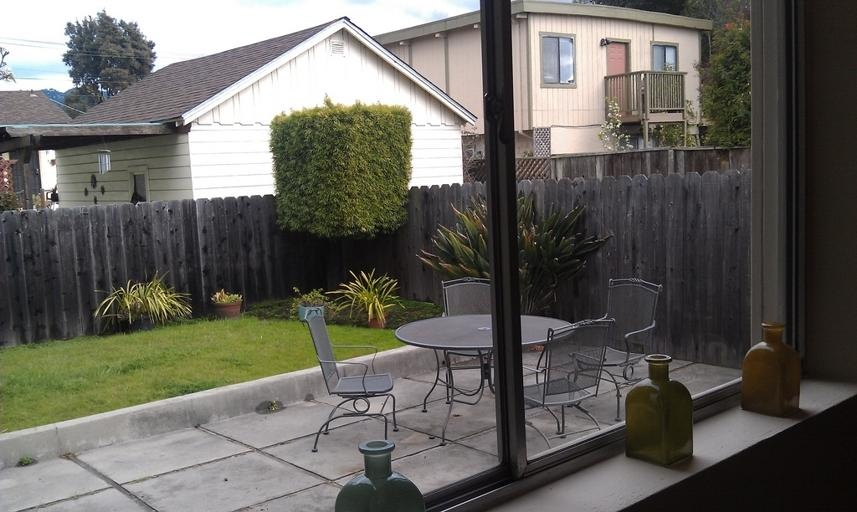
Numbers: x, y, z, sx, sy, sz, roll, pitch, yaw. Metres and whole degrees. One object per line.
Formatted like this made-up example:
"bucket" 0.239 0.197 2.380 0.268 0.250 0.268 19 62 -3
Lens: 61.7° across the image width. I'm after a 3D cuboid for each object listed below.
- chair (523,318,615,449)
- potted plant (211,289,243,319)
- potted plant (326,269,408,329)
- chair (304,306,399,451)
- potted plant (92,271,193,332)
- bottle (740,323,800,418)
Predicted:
"chair" 1.267 1.227 7.030 0.640 1.050 0.735 4 -9 -28
"potted plant" -2.948 0.717 10.568 0.365 0.377 0.399 -1 -4 4
"potted plant" -0.880 0.647 10.805 0.825 0.668 0.931 0 -2 9
"chair" -0.706 1.137 6.692 0.815 1.282 0.773 0 3 -1
"potted plant" -3.924 0.711 10.055 0.815 0.533 0.845 -3 -5 38
"bottle" 2.254 0.748 4.715 0.413 0.601 0.146 -5 4 -1
